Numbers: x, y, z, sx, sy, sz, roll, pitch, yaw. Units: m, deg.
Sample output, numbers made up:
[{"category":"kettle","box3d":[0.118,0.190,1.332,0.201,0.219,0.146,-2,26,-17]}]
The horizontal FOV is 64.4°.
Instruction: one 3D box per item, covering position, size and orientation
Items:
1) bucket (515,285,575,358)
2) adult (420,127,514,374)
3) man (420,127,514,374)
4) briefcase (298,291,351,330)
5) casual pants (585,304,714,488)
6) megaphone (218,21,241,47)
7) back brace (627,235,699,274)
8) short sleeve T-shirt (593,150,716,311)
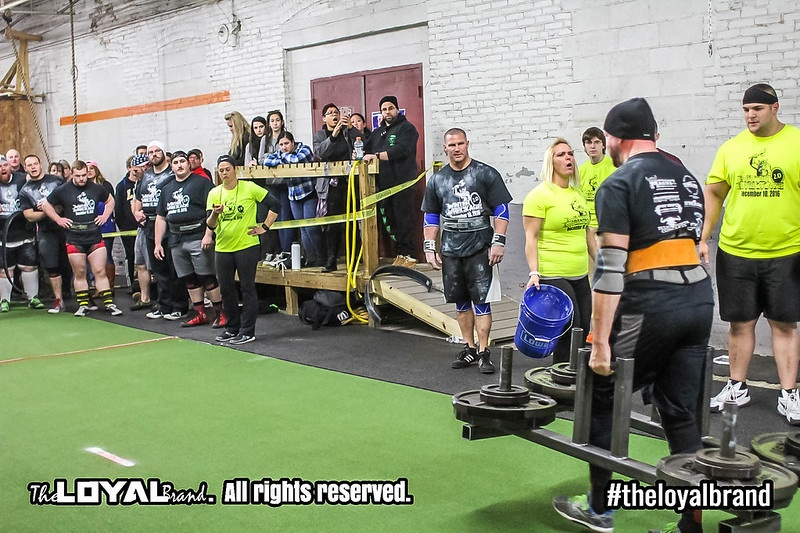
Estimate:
[{"category":"bucket","box3d":[1.231,0.540,5.533,0.468,0.404,0.458,10,24,-5]},{"category":"adult","box3d":[0.664,-0.183,6.682,0.892,2.476,0.532,3,12,30]},{"category":"man","box3d":[0.662,-0.182,6.677,0.895,2.476,0.530,3,11,29]},{"category":"briefcase","box3d":[-0.949,0.599,8.935,0.805,0.479,0.562,-11,6,-26]},{"category":"casual pants","box3d":[1.483,0.672,3.717,0.621,1.217,0.452,-2,7,-19]},{"category":"megaphone","box3d":[-3.057,-4.130,11.351,0.345,0.441,0.495,-7,13,-43]},{"category":"back brace","box3d":[1.565,-0.100,3.664,0.376,0.125,0.366,-3,8,-8]},{"category":"short sleeve T-shirt","box3d":[1.476,-0.218,3.718,1.010,0.863,0.523,-11,11,-34]}]
